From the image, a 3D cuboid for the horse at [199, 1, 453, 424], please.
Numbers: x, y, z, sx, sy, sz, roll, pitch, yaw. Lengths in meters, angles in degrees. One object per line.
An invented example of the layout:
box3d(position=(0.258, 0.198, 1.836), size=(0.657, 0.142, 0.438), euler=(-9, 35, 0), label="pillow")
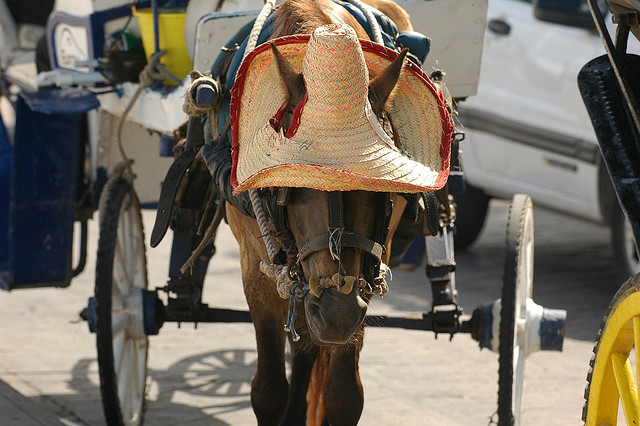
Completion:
box3d(position=(-0.039, 0.082, 11.865), size=(1.237, 2.941, 1.396), euler=(0, 8, -34), label="horse")
